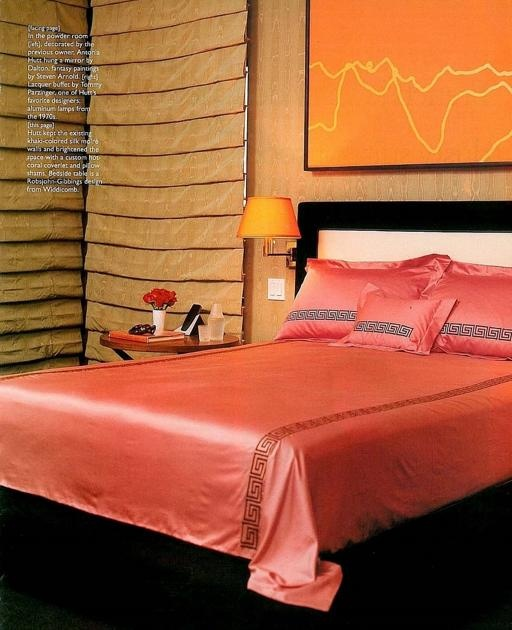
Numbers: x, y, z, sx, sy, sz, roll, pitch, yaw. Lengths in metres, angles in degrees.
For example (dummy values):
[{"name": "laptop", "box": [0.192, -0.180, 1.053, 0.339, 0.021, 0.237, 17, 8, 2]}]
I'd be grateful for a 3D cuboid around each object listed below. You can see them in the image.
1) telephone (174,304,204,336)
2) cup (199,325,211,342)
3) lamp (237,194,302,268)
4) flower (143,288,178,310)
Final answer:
[{"name": "telephone", "box": [-0.436, 0.026, 3.401, 0.193, 0.250, 0.184, 4, -3, -38]}, {"name": "cup", "box": [-0.327, 0.118, 3.166, 0.082, 0.101, 0.086, 0, 2, 0]}, {"name": "lamp", "box": [0.112, -0.512, 3.242, 0.425, 0.453, 0.413, 0, 2, -21]}, {"name": "flower", "box": [-0.656, -0.136, 3.284, 0.171, 0.129, 0.175, 4, 4, 44]}]
